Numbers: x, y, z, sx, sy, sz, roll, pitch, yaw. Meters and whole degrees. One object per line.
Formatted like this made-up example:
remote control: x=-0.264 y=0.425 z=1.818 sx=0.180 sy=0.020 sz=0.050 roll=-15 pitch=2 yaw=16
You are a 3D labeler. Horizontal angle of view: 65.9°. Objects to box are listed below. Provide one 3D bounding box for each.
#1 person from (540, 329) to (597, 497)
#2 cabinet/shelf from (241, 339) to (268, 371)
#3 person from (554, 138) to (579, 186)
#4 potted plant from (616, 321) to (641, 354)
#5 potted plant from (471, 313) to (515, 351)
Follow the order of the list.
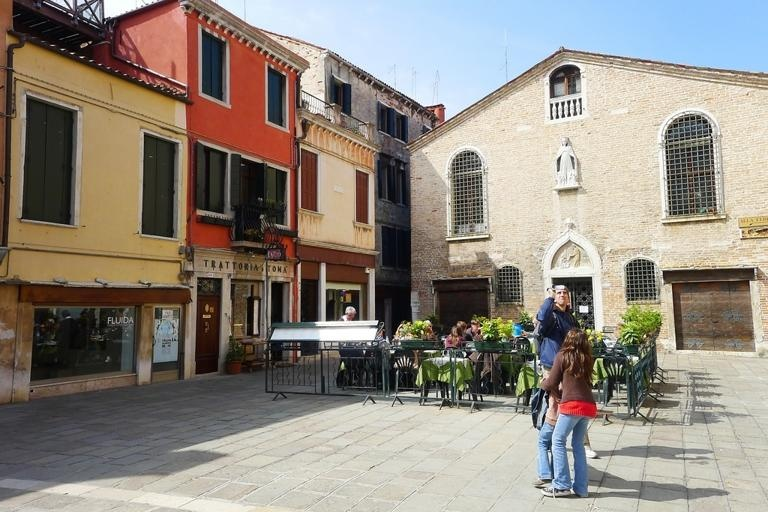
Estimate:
person: x=2.970 y=2.498 z=9.488 sx=0.795 sy=2.634 sz=0.475 roll=0 pitch=3 yaw=13
cabinet/shelf: x=-4.774 y=3.549 z=21.594 sx=0.796 sy=1.121 sz=1.568 roll=0 pitch=3 yaw=9
person: x=8.707 y=-4.338 z=27.974 sx=1.120 sy=2.408 sz=0.510 roll=0 pitch=3 yaw=12
potted plant: x=6.869 y=2.292 z=16.458 sx=0.772 sy=0.984 sz=0.768 roll=-2 pitch=-4 yaw=22
potted plant: x=2.857 y=1.951 z=15.351 sx=0.909 sy=0.654 sz=0.959 roll=-3 pitch=-6 yaw=37
